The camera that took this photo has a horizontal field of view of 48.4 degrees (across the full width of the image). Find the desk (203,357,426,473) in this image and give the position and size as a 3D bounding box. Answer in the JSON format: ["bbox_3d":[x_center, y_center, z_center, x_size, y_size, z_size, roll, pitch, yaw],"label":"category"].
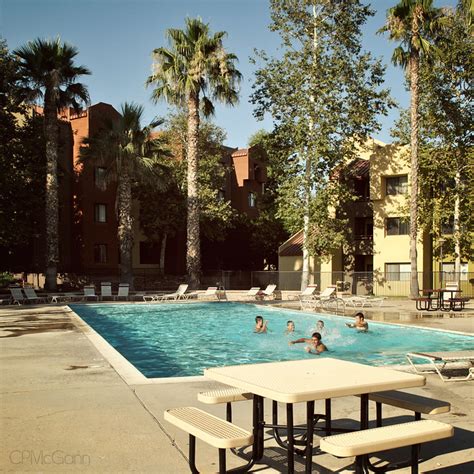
[{"bbox_3d":[0.589,1.244,4.585,1.161,0.776,1.146,-1,2,-36],"label":"desk"}]

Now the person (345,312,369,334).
[{"bbox_3d":[3.857,2.688,16.767,0.565,0.865,0.576,0,-6,-25],"label":"person"}]

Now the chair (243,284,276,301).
[{"bbox_3d":[1.266,2.943,28.313,1.295,0.625,0.859,1,-3,-1],"label":"chair"}]

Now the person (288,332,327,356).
[{"bbox_3d":[1.896,2.653,13.778,0.612,0.493,1.387,1,0,-18],"label":"person"}]
